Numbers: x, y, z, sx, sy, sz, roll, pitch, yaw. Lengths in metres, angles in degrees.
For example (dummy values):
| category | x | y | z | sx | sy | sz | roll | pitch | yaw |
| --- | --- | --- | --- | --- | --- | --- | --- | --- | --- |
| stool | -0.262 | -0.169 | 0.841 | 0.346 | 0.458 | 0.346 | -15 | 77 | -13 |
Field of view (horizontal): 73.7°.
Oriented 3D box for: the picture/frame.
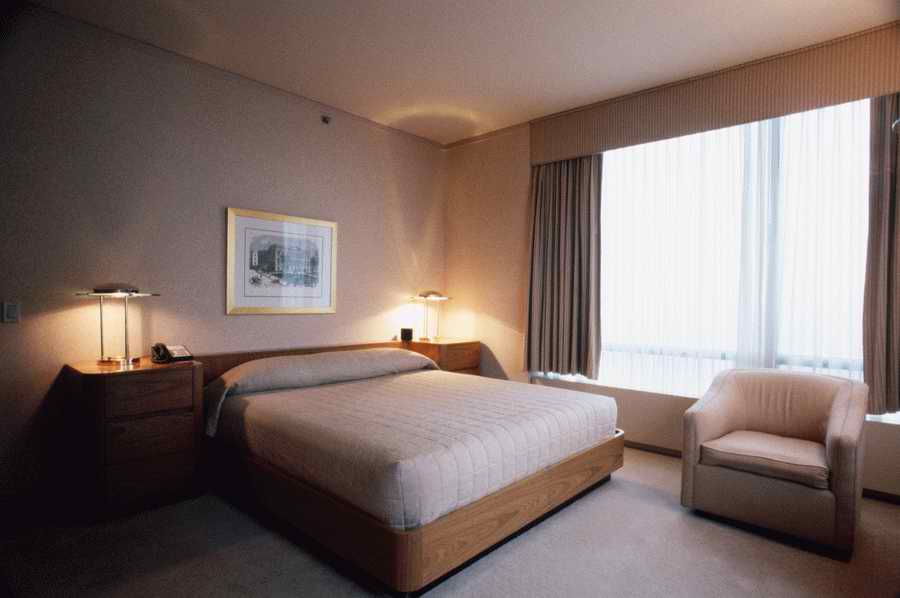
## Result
| category | x | y | z | sx | sy | sz | roll | pitch | yaw |
| --- | --- | --- | --- | --- | --- | --- | --- | --- | --- |
| picture/frame | -1.744 | -0.376 | 5.985 | 1.095 | 0.944 | 0.047 | 1 | -1 | -45 |

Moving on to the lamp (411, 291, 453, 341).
| category | x | y | z | sx | sy | sz | roll | pitch | yaw |
| --- | --- | --- | --- | --- | --- | --- | --- | --- | --- |
| lamp | -0.200 | 0.198 | 7.203 | 0.428 | 0.581 | 0.646 | 3 | 2 | 36 |

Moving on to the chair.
| category | x | y | z | sx | sy | sz | roll | pitch | yaw |
| --- | --- | --- | --- | --- | --- | --- | --- | --- | --- |
| chair | 2.612 | 1.241 | 4.864 | 1.189 | 1.370 | 0.932 | 3 | 2 | 36 |

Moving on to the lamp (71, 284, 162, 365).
| category | x | y | z | sx | sy | sz | roll | pitch | yaw |
| --- | --- | --- | --- | --- | --- | --- | --- | --- | --- |
| lamp | -2.820 | 0.207 | 4.980 | 0.571 | 0.658 | 0.539 | 2 | 1 | -24 |

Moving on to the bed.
| category | x | y | z | sx | sy | sz | roll | pitch | yaw |
| --- | --- | --- | --- | --- | --- | --- | --- | --- | --- |
| bed | -0.783 | 1.297 | 4.555 | 1.880 | 0.763 | 2.106 | 1 | 2 | 45 |

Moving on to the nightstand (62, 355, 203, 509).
| category | x | y | z | sx | sy | sz | roll | pitch | yaw |
| --- | --- | --- | --- | --- | --- | --- | --- | --- | --- |
| nightstand | -2.636 | 1.137 | 5.083 | 1.036 | 1.127 | 1.044 | -3 | -2 | -16 |

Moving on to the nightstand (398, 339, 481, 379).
| category | x | y | z | sx | sy | sz | roll | pitch | yaw |
| --- | --- | --- | --- | --- | --- | --- | --- | --- | --- |
| nightstand | -0.075 | 0.642 | 6.995 | 0.445 | 0.630 | 0.672 | 0 | 0 | 38 |
